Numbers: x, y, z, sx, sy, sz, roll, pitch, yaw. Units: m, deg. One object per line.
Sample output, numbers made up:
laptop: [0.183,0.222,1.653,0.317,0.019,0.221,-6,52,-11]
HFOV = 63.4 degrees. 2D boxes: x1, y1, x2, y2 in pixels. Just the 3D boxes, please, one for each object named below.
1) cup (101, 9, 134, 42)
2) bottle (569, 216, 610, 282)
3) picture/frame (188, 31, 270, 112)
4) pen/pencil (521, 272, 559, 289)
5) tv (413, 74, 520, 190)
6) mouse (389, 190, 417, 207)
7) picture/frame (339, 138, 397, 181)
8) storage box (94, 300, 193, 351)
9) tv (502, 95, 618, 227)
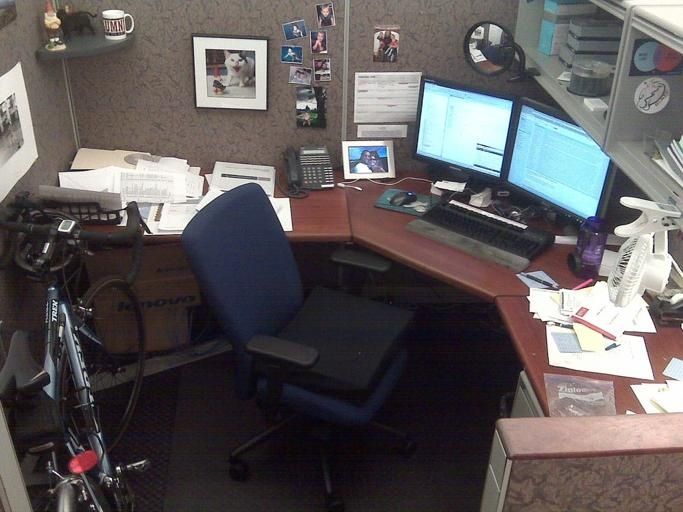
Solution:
cup: [-0.894,-0.928,2.206,0.125,0.099,0.147,-13,39,-14]
bottle: [0.863,-0.033,1.917,0.110,0.165,0.195,17,42,22]
picture/frame: [-0.484,-0.798,2.343,0.322,0.295,0.022,3,33,1]
pen/pencil: [0.674,0.085,1.880,0.093,0.011,0.013,29,57,29]
tv: [0.528,-0.524,2.278,0.415,0.404,0.147,17,23,16]
mouse: [0.250,-0.243,2.262,0.096,0.034,0.057,-15,38,-22]
picture/frame: [0.119,-0.435,2.484,0.201,0.143,0.019,-2,5,-4]
storage box: [-0.840,0.288,2.312,0.297,0.186,0.215,-1,19,-13]
tv: [0.796,-0.346,1.993,0.087,0.309,0.445,-6,32,-44]
